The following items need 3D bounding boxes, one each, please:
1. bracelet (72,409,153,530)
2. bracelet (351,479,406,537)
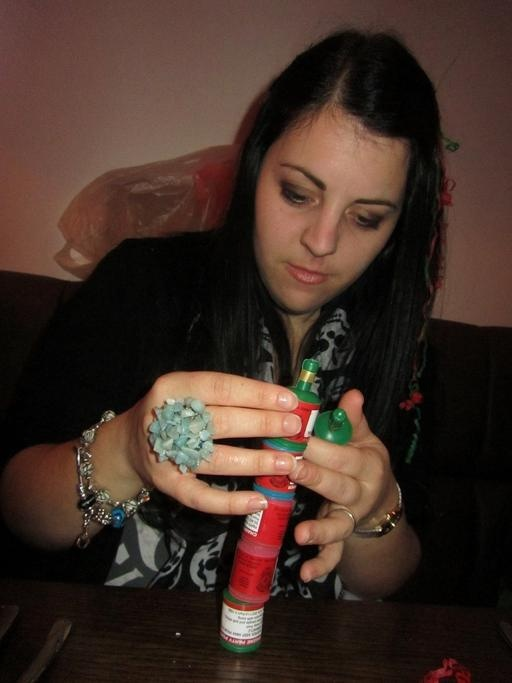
[{"bbox_3d":[-0.296,0.259,1.231,0.132,0.239,0.151,-10,29,-32],"label":"bracelet"},{"bbox_3d":[0.257,0.364,1.330,0.100,0.045,0.115,-28,17,24],"label":"bracelet"}]
